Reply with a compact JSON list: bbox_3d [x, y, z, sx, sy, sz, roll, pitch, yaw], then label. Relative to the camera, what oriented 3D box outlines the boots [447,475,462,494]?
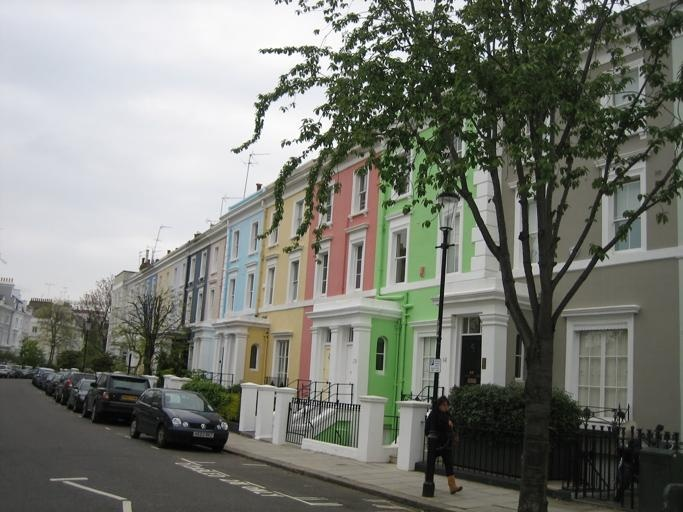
[{"bbox_3d":[2.514,5.118,12.759,0.279,0.403,0.369,1,-14,14],"label":"boots"}]

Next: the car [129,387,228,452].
[{"bbox_3d":[-4.814,4.808,16.875,3.194,1.655,1.637,-8,-19,41],"label":"car"}]
